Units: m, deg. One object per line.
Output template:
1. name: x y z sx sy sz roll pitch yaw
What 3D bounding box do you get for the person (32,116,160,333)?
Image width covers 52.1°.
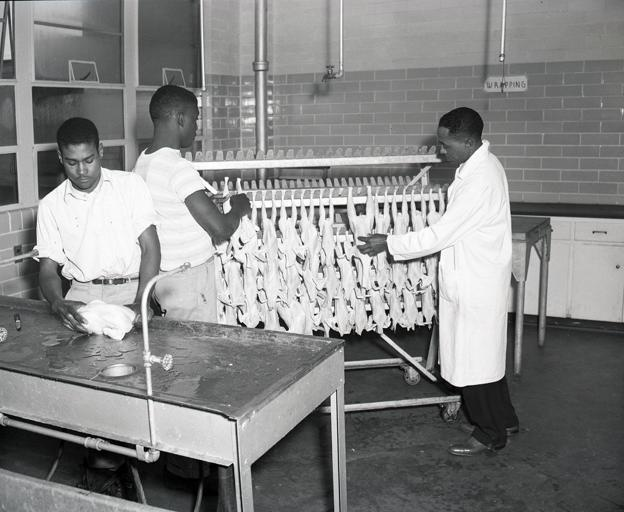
1. person: -0.921 -0.167 2.663 0.531 0.795 0.368 -3 13 -10

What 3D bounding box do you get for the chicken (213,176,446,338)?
1. chicken: 0.114 0.057 3.565 1.129 0.825 0.509 -1 3 -4

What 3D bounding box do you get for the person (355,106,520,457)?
1. person: 0.812 0.134 3.559 0.780 1.868 0.495 2 13 10
